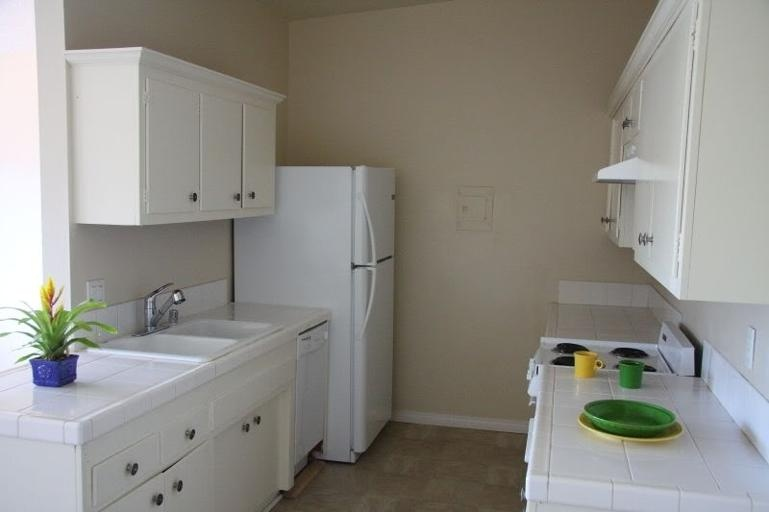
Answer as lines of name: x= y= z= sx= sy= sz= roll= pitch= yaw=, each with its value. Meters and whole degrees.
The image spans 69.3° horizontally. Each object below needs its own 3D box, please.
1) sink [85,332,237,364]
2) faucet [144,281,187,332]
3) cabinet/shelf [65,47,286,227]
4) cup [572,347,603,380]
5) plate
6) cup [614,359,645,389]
sink: x=-1.274 y=0.505 z=3.078 sx=0.307 sy=0.124 sz=0.351 roll=3 pitch=2 yaw=13
faucet: x=-1.342 y=0.281 z=3.383 sx=0.214 sy=0.286 sz=0.349 roll=-3 pitch=12 yaw=-22
cabinet/shelf: x=-1.152 y=-0.643 z=3.186 sx=0.427 sy=0.909 sz=1.159 roll=9 pitch=14 yaw=35
cup: x=1.030 y=0.537 z=2.807 sx=0.140 sy=0.104 sz=0.112 roll=4 pitch=5 yaw=25
plate: x=1.035 y=0.681 z=2.343 sx=0.406 sy=0.075 sz=0.311 roll=5 pitch=12 yaw=19
cup: x=1.197 y=0.574 z=2.712 sx=0.114 sy=0.122 sz=0.127 roll=1 pitch=0 yaw=11
